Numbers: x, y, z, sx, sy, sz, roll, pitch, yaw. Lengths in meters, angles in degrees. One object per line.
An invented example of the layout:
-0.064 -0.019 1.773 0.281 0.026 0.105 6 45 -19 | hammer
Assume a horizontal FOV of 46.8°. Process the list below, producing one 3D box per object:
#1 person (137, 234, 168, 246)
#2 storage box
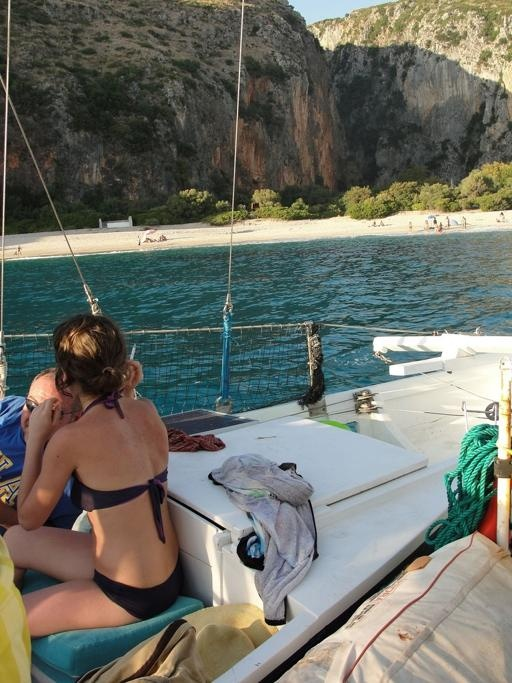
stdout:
-6.892 -6.507 38.458 1.458 0.570 1.380 -2 8 34 | person
0.150 0.710 2.551 0.609 0.152 0.653 -13 20 -31 | storage box
